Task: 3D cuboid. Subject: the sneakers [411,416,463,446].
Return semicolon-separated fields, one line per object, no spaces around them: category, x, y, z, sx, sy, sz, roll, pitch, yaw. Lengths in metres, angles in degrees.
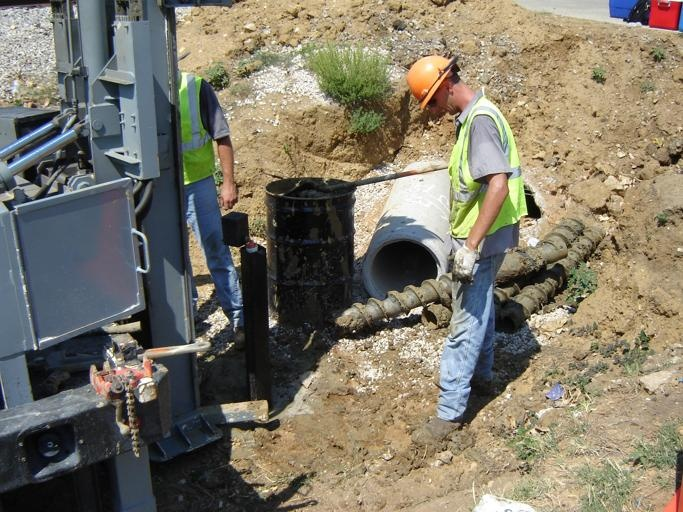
sneakers;0.676;1.229;4.983;0.332;0.141;0.163;-23;25;-14

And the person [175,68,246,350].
person;-1.072;-0.291;5.770;0.444;2.271;0.797;-5;34;-10

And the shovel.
shovel;0.242;-0.762;7.190;1.209;0.141;0.354;-12;14;0

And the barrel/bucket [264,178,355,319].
barrel/bucket;-0.288;-0.061;6.421;0.779;1.216;0.769;0;20;0

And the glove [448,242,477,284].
glove;0.806;0.043;4.679;0.166;0.245;0.086;-2;14;-6

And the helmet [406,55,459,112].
helmet;0.588;-1.230;4.876;0.426;0.222;0.300;-50;16;-4
